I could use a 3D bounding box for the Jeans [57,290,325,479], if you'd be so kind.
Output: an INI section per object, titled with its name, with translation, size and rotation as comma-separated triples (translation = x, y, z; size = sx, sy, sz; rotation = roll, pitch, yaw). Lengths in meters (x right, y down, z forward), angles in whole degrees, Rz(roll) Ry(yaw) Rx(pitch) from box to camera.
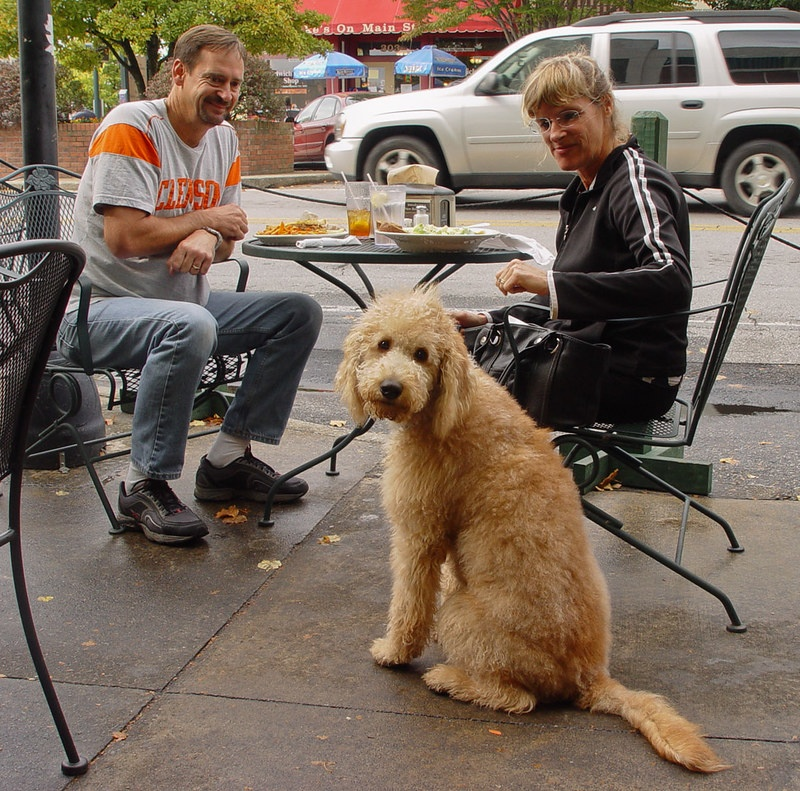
[Jeans]
translation = -0.851, -0.069, 3.792
size = 0.548, 0.717, 0.843
rotation = 16, 24, 35

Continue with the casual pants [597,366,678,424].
[casual pants]
translation = 0.819, 0.008, 3.110
size = 0.283, 0.087, 0.194
rotation = -1, 8, 25

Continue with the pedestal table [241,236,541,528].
[pedestal table]
translation = -0.197, -0.142, 4.062
size = 1.565, 1.047, 1.317
rotation = -5, 13, -23

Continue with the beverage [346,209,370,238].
[beverage]
translation = -0.171, -0.783, 4.075
size = 0.144, 0.120, 0.129
rotation = -1, 6, 2

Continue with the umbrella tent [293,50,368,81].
[umbrella tent]
translation = -2.025, -10.916, 29.913
size = 1.929, 0.507, 1.740
rotation = 8, 22, 22

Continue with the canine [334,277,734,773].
[canine]
translation = 0.390, 0.388, 2.666
size = 0.568, 1.054, 1.453
rotation = -4, 11, -34

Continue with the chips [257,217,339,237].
[chips]
translation = -0.440, -0.745, 4.017
size = 0.302, 0.035, 0.182
rotation = -6, 25, -5

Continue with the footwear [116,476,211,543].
[footwear]
translation = -0.968, 0.441, 3.570
size = 0.426, 0.227, 0.178
rotation = 14, 24, 36

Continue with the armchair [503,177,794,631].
[armchair]
translation = 0.695, 0.004, 3.265
size = 1.341, 1.452, 1.051
rotation = 4, 16, 18

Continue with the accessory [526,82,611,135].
[accessory]
translation = 0.586, -1.041, 3.163
size = 0.214, 0.096, 0.239
rotation = 2, -7, 12
